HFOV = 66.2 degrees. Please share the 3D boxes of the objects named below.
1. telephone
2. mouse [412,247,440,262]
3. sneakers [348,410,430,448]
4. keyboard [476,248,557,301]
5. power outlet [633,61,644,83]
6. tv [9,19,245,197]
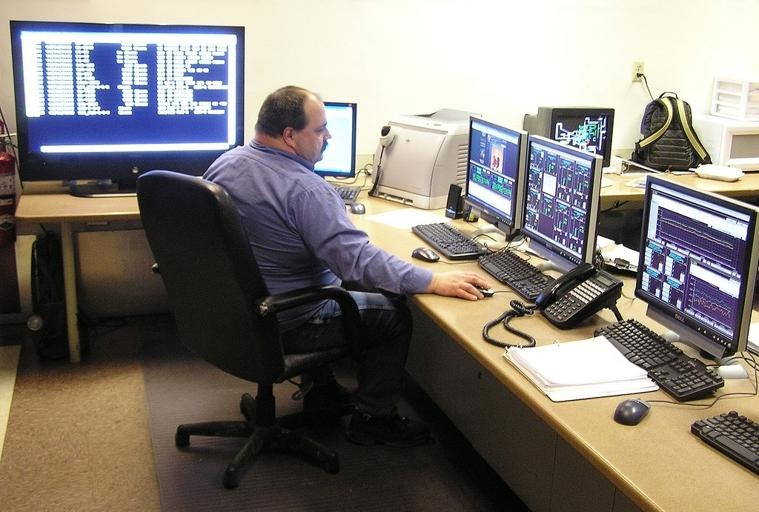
[{"bbox_3d":[0.731,0.148,2.124,0.255,0.172,0.201,-8,22,-19],"label":"telephone"},{"bbox_3d":[0.211,-0.015,2.565,0.099,0.032,0.057,11,16,34],"label":"mouse"},{"bbox_3d":[0.019,0.779,2.756,0.413,0.188,0.157,-1,13,-6],"label":"sneakers"},{"bbox_3d":[0.565,0.074,2.375,0.158,0.072,0.408,-18,23,-10],"label":"keyboard"},{"bbox_3d":[1.898,-1.352,4.275,0.093,0.141,0.023,-9,23,-21],"label":"power outlet"},{"bbox_3d":[-1.428,-0.829,3.166,1.181,0.828,0.171,-1,11,-17],"label":"tv"}]
